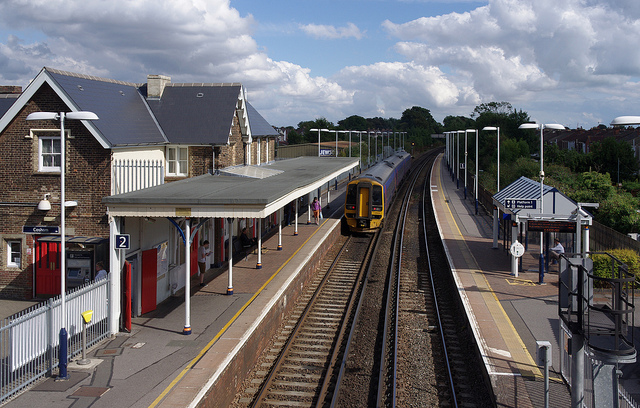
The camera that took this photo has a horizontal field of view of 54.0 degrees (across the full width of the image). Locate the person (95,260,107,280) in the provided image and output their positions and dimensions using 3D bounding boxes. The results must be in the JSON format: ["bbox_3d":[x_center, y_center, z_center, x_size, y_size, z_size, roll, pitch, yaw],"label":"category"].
[{"bbox_3d":[-7.752,2.305,22.223,0.364,0.705,0.767,1,-4,1],"label":"person"}]

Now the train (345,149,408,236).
[{"bbox_3d":[4.447,-1.830,45.833,2.118,3.188,18.153,0,13,12],"label":"train"}]

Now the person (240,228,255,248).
[{"bbox_3d":[-3.656,1.697,31.865,0.712,1.371,0.683,-2,7,-1],"label":"person"}]
